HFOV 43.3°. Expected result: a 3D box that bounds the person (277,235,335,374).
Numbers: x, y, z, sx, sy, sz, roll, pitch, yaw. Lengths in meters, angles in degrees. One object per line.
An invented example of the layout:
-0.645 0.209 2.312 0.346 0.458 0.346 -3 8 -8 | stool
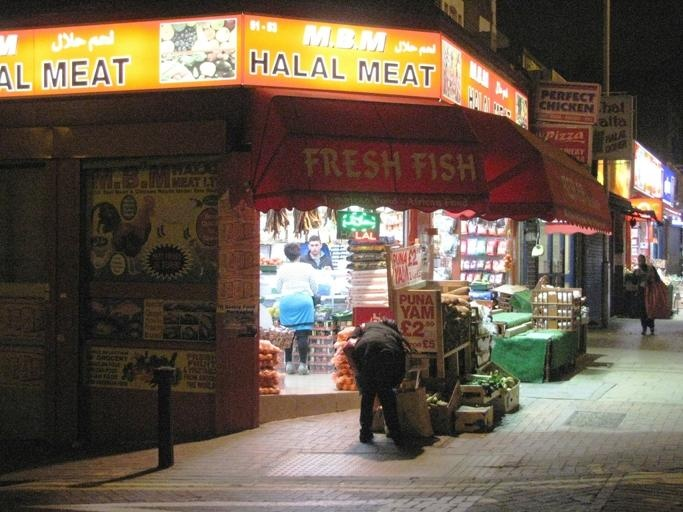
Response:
-0.707 0.856 14.715 0.743 2.143 0.997 -2 4 19 | person

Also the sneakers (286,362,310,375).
-0.733 1.873 14.399 0.321 0.148 0.178 -2 -4 7 | sneakers

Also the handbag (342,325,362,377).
0.145 1.289 11.886 0.172 0.563 0.424 1 3 10 | handbag

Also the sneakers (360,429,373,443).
0.354 2.489 11.876 0.167 0.161 0.164 0 -21 -3 | sneakers

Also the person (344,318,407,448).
0.493 1.745 11.854 0.807 1.620 0.569 -3 4 4 | person
